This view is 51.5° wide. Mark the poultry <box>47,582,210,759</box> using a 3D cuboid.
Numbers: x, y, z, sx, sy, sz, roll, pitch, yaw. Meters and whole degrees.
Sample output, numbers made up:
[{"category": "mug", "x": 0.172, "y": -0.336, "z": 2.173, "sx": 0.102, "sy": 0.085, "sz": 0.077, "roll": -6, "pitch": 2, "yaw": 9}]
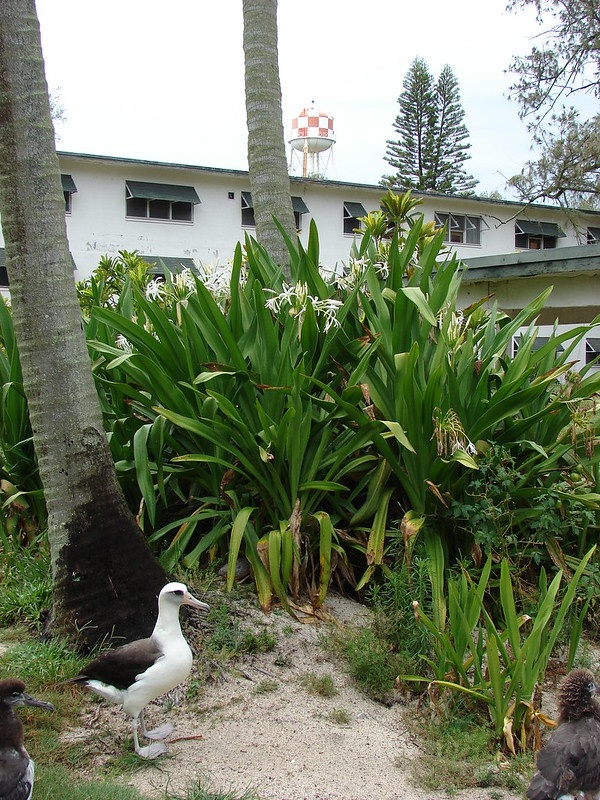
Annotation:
[{"category": "poultry", "x": -0.534, "y": 0.851, "z": 2.027, "sx": 0.371, "sy": 0.537, "sz": 0.242, "roll": 3, "pitch": 3, "yaw": -8}]
